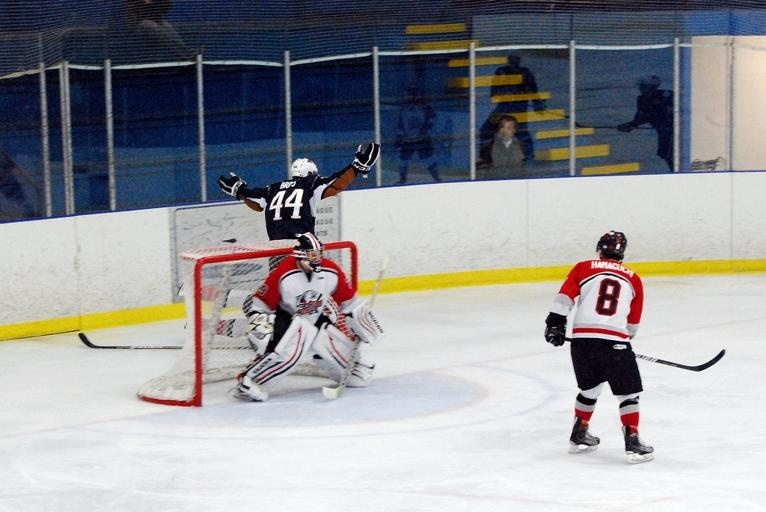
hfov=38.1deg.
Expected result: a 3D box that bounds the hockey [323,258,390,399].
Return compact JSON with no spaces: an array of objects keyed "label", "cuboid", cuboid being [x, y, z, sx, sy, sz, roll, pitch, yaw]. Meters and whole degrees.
[{"label":"hockey","cuboid":[-0.248,0.653,9.545,0.191,1.291,0.229,28,-7,38]}]

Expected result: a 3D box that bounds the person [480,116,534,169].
[{"label":"person","cuboid":[1.441,-1.354,12.805,0.914,0.535,0.178,-1,11,-11]}]

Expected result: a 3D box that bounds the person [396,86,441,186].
[{"label":"person","cuboid":[0.371,-1.439,12.934,0.503,1.121,0.211,-4,9,-5]}]

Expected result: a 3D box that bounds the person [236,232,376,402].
[{"label":"person","cuboid":[-0.652,0.485,9.084,1.178,1.350,0.281,-6,9,-21]}]

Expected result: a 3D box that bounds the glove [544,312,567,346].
[{"label":"glove","cuboid":[1.250,0.520,8.075,0.223,0.211,0.108,3,0,10]}]

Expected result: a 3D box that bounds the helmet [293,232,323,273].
[{"label":"helmet","cuboid":[-0.593,-0.031,8.974,0.245,0.313,0.153,-5,8,-14]}]

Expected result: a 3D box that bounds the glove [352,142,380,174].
[{"label":"glove","cuboid":[-0.187,-0.890,10.061,0.231,0.271,0.246,-4,7,-12]}]

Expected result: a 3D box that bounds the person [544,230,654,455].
[{"label":"person","cuboid":[1.560,0.638,7.989,0.757,1.595,0.494,0,9,22]}]
